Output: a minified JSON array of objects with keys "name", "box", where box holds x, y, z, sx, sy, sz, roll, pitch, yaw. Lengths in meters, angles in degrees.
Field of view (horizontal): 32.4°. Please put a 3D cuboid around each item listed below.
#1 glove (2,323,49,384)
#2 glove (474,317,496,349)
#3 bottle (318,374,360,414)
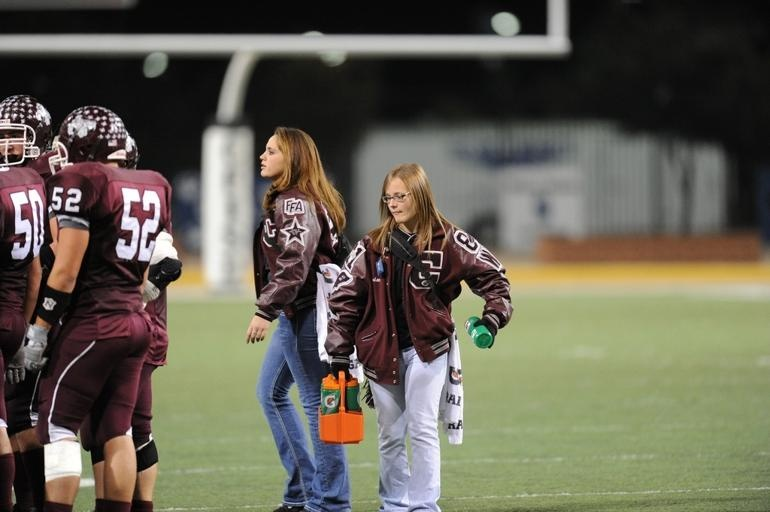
[{"name":"glove","box":[-4.566,1.297,16.971,0.496,0.822,0.241,41,12,11]},{"name":"glove","box":[1.294,1.025,17.259,0.313,0.401,0.235,0,13,0]},{"name":"bottle","box":[-0.582,1.810,17.373,0.520,0.489,0.286,-1,13,-3]}]
